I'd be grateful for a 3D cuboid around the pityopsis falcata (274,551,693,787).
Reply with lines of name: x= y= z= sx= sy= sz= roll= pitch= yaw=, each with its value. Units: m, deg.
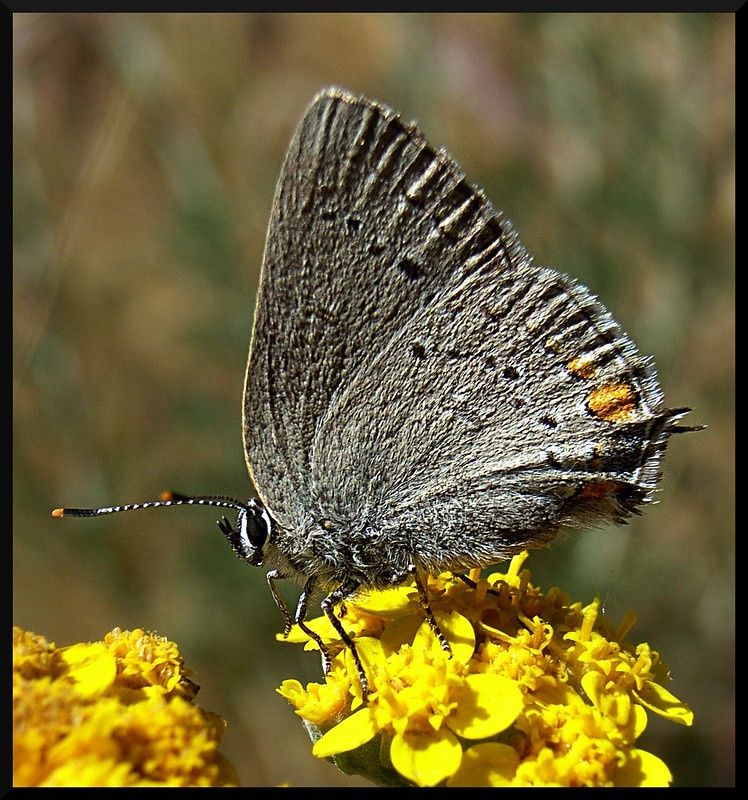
pityopsis falcata: x=0.369 y=1.044 z=3.319 sx=1.345 sy=0.615 sz=0.983 roll=10 pitch=36 yaw=7
